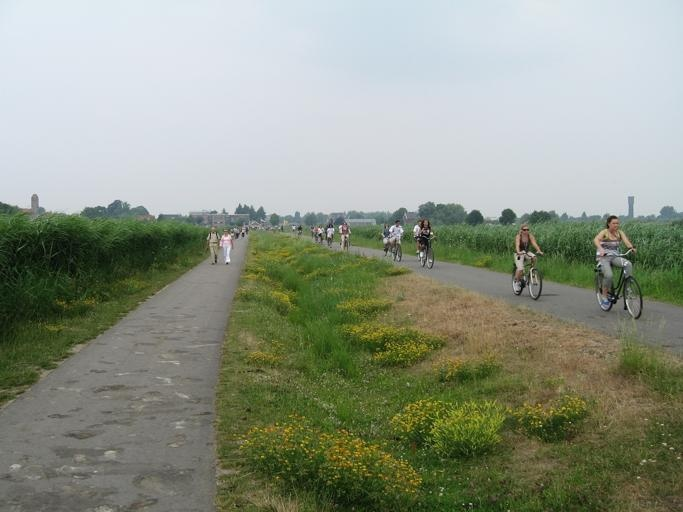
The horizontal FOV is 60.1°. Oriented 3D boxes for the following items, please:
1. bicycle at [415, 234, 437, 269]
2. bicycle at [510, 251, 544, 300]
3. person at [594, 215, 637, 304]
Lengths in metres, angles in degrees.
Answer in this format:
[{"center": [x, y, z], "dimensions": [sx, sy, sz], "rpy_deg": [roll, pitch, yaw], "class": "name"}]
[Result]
[{"center": [4.238, -0.102, 29.226], "dimensions": [0.774, 1.038, 1.616], "rpy_deg": [-1, 3, -14], "class": "bicycle"}, {"center": [5.824, 0.623, 18.582], "dimensions": [0.797, 1.333, 1.675], "rpy_deg": [3, 3, 14], "class": "bicycle"}, {"center": [6.984, 0.150, 15.310], "dimensions": [0.905, 1.556, 1.339], "rpy_deg": [3, 3, 25], "class": "person"}]
